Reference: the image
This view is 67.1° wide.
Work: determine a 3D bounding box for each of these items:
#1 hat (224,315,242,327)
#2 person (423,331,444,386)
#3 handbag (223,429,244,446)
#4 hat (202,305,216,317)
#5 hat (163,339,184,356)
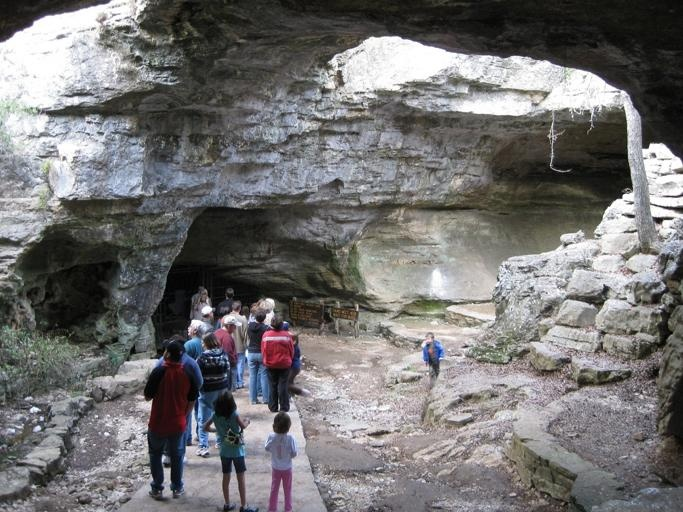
[{"bbox_3d":[-1.650,1.024,7.884,0.266,0.087,0.165,16,7,-34],"label":"hat"},{"bbox_3d":[1.983,2.228,11.241,0.388,1.093,0.635,4,4,10],"label":"person"},{"bbox_3d":[-1.166,1.983,5.636,0.159,0.125,0.188,7,-11,0],"label":"handbag"},{"bbox_3d":[-2.115,0.882,8.172,0.162,0.096,0.199,9,25,24],"label":"hat"},{"bbox_3d":[-1.870,1.029,5.755,0.205,0.214,0.247,1,4,-16],"label":"hat"}]
